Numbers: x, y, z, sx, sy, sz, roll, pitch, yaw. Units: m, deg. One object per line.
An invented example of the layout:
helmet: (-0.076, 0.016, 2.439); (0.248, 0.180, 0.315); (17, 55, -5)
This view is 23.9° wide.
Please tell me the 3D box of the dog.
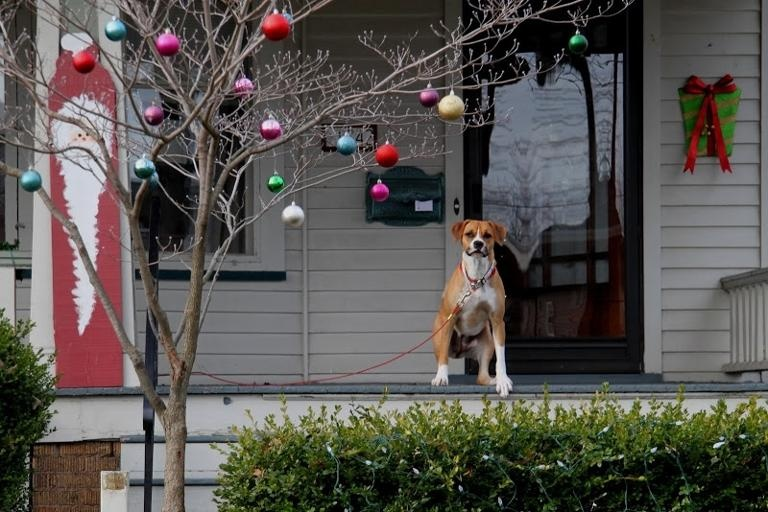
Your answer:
dog: (0.728, 0.445, 15.433); (0.755, 1.449, 2.271); (0, -6, -2)
